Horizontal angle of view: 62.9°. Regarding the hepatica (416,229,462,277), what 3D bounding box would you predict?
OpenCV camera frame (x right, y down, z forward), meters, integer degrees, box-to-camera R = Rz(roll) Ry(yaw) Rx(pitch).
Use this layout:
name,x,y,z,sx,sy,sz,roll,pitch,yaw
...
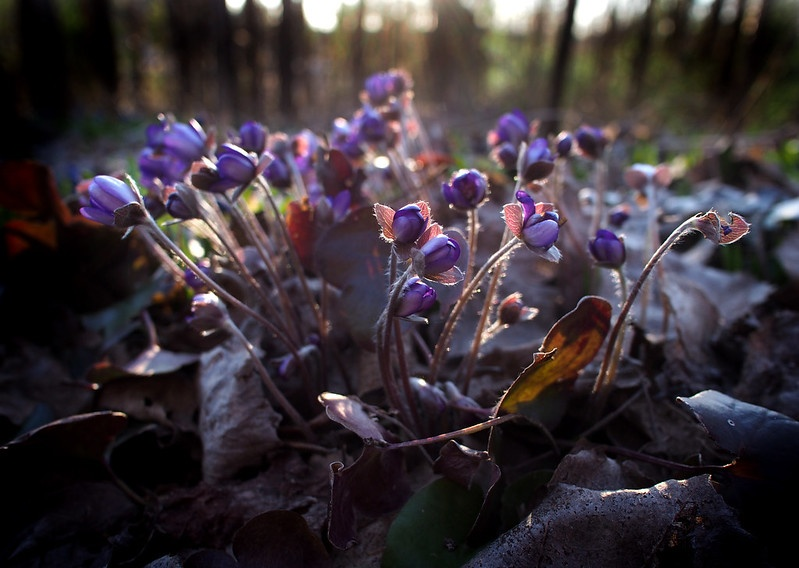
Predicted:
name,x,y,z,sx,sy,sz,roll,pitch,yaw
hepatica,0.096,-0.069,1.638,0.100,0.107,0.095,-1,30,-3

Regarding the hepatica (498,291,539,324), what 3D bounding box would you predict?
name,x,y,z,sx,sy,sz,roll,pitch,yaw
hepatica,0.352,0.070,1.921,0.105,0.098,0.068,1,15,6

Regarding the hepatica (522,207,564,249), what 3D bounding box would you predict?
name,x,y,z,sx,sy,sz,roll,pitch,yaw
hepatica,0.366,-0.137,1.683,0.103,0.083,0.088,0,31,-2

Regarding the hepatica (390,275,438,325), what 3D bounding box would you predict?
name,x,y,z,sx,sy,sz,roll,pitch,yaw
hepatica,0.056,0.049,1.707,0.113,0.114,0.113,11,-9,2

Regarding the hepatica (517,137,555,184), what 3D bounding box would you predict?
name,x,y,z,sx,sy,sz,roll,pitch,yaw
hepatica,0.384,-0.335,1.836,0.100,0.132,0.097,7,31,11

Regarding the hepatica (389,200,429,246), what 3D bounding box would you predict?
name,x,y,z,sx,sy,sz,roll,pitch,yaw
hepatica,0.024,-0.142,1.665,0.078,0.111,0.096,17,55,-9

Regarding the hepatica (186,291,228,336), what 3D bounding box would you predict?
name,x,y,z,sx,sy,sz,roll,pitch,yaw
hepatica,-0.523,0.084,1.770,0.101,0.115,0.077,-12,33,-21

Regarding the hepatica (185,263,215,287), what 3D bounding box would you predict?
name,x,y,z,sx,sy,sz,roll,pitch,yaw
hepatica,-0.610,-0.025,1.965,0.063,0.053,0.069,0,2,-34

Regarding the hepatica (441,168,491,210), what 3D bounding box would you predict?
name,x,y,z,sx,sy,sz,roll,pitch,yaw
hepatica,0.182,-0.255,1.800,0.127,0.121,0.081,5,30,7
